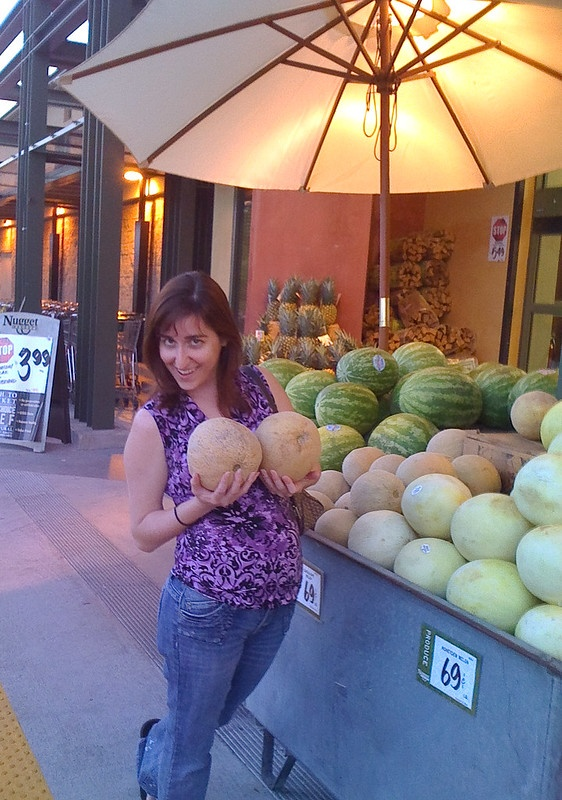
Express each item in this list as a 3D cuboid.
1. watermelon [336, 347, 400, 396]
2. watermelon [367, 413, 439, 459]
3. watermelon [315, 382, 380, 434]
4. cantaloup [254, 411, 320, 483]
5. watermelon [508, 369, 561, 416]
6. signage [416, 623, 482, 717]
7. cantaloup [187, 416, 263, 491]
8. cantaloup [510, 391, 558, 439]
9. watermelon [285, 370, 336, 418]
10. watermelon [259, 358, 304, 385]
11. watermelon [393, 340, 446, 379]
[{"bbox_3d":[0.414,-0.148,2.792,0.272,0.211,0.210,-6,41,-12],"label":"watermelon"},{"bbox_3d":[0.513,0.148,2.338,0.225,0.175,0.176,-1,-12,6],"label":"watermelon"},{"bbox_3d":[0.316,0.071,2.722,0.306,0.260,0.247,7,-14,-34],"label":"watermelon"},{"bbox_3d":[0.025,0.104,1.187,0.117,0.131,0.127,1,-19,38],"label":"cantaloup"},{"bbox_3d":[0.937,-0.026,2.055,0.187,0.118,0.110,-25,12,12],"label":"watermelon"},{"bbox_3d":[0.304,0.490,1.023,0.005,0.106,0.146,13,-7,-26],"label":"signage"},{"bbox_3d":[-0.105,0.105,1.038,0.140,0.125,0.153,5,5,-2],"label":"cantaloup"},{"bbox_3d":[0.803,0.050,1.769,0.124,0.150,0.127,-2,21,-17],"label":"cantaloup"},{"bbox_3d":[0.171,-0.049,2.970,0.284,0.225,0.219,-4,29,3],"label":"watermelon"},{"bbox_3d":[0.009,-0.175,3.210,0.238,0.147,0.154,7,14,-17],"label":"watermelon"},{"bbox_3d":[0.743,-0.218,2.994,0.240,0.188,0.185,-7,-24,-4],"label":"watermelon"}]
